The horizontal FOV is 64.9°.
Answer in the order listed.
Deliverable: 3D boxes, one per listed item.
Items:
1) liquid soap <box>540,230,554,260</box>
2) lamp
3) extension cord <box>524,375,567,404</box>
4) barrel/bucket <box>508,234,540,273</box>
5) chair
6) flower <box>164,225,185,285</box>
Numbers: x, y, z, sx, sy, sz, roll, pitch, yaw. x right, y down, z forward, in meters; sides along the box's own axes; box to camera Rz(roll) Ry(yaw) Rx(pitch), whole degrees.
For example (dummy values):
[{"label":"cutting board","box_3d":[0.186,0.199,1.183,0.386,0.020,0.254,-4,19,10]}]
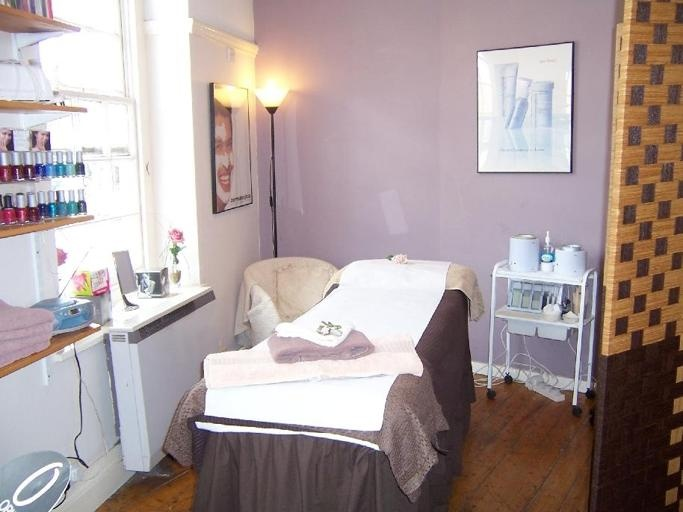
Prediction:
[{"label":"liquid soap","box_3d":[1.336,-0.065,3.476,0.075,0.158,0.232,3,14,18]},{"label":"lamp","box_3d":[-0.508,-0.657,4.101,0.235,1.324,0.374,-3,13,-6]},{"label":"extension cord","box_3d":[1.360,0.888,3.594,0.189,0.070,0.114,21,26,38]},{"label":"barrel/bucket","box_3d":[1.147,-0.017,3.386,0.204,0.253,0.210,0,3,0]},{"label":"chair","box_3d":[-0.403,0.251,3.706,0.608,0.568,0.614,-4,4,-24]},{"label":"flower","box_3d":[-1.022,0.001,3.305,0.128,0.377,0.253,-6,14,-18]}]
